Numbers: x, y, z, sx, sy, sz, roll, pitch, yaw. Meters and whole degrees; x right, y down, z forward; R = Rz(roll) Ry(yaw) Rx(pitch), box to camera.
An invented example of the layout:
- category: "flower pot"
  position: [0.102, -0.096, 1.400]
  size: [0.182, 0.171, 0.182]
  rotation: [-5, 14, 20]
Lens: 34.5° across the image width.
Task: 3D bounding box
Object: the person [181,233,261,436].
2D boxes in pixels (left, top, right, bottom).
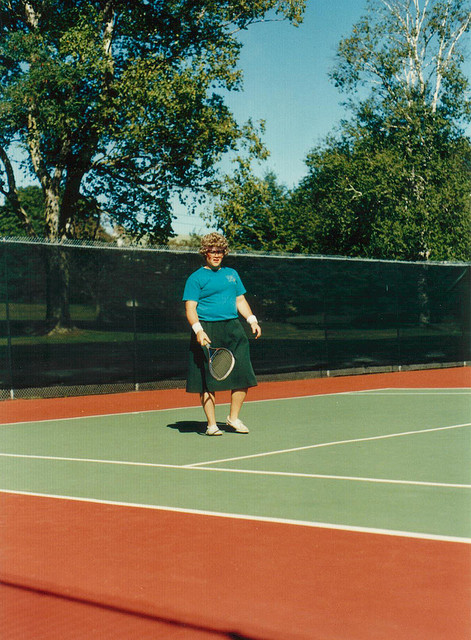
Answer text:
- category: "person"
  position: [-0.143, 0.120, 6.728]
  size: [0.656, 1.809, 0.884]
  rotation: [0, 1, 7]

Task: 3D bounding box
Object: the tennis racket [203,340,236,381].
- category: "tennis racket"
  position: [-0.138, 0.378, 6.420]
  size: [0.289, 0.285, 0.137]
  rotation: [0, 2, 37]
